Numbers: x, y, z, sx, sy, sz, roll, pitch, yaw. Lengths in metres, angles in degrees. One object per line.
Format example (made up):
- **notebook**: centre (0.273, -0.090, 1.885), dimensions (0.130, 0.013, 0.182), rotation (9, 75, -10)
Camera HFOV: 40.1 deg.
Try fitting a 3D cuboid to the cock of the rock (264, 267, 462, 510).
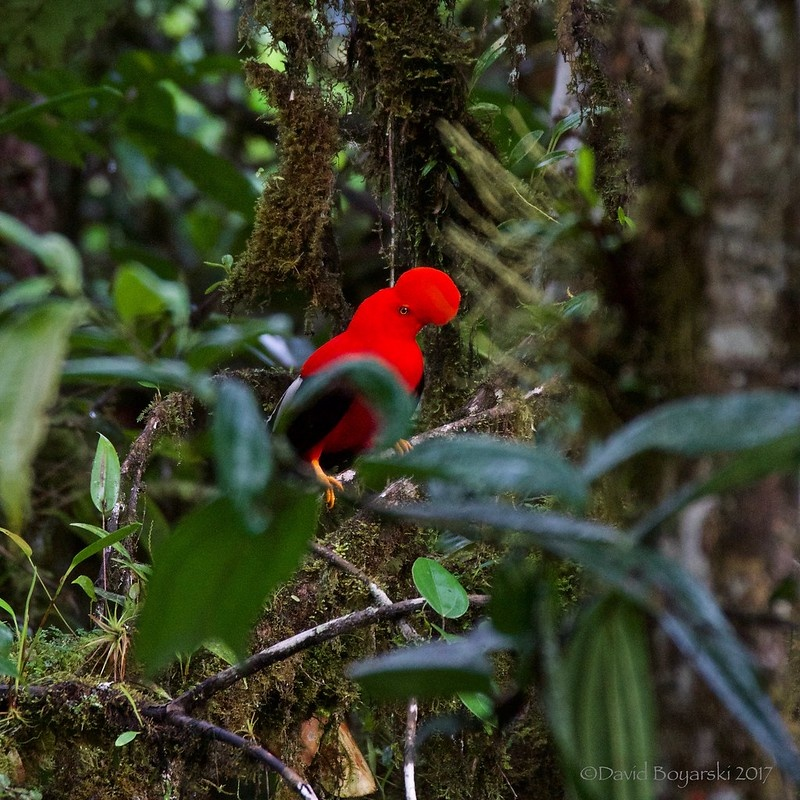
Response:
- **cock of the rock**: centre (-0.137, -0.055, 2.472), dimensions (0.529, 0.589, 0.293), rotation (13, 24, 21)
